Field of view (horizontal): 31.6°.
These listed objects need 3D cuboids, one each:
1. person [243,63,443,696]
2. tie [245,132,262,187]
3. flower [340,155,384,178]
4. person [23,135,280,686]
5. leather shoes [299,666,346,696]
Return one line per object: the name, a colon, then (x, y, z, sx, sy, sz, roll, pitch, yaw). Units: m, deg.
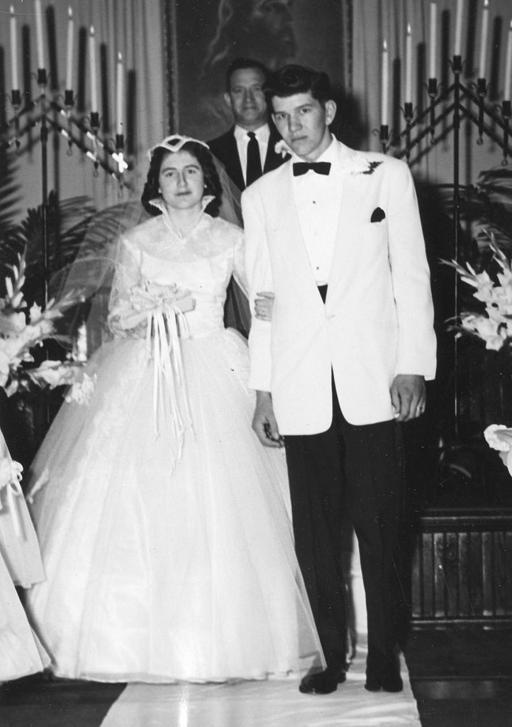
person: (0.194, 0.041, 2.214, 0.468, 1.517, 0.301, 0, 6, 2)
tie: (-0.005, -0.713, 3.121, 0.050, 0.206, 0.016, -6, -19, 13)
flower: (0.252, -0.481, 2.196, 0.079, 0.048, 0.022, -6, -28, 10)
person: (-0.261, 0.062, 2.366, 0.676, 1.373, 0.703, -2, 6, -15)
leather shoes: (0.156, 0.773, 2.179, 0.119, 0.052, 0.044, 14, -27, -31)
